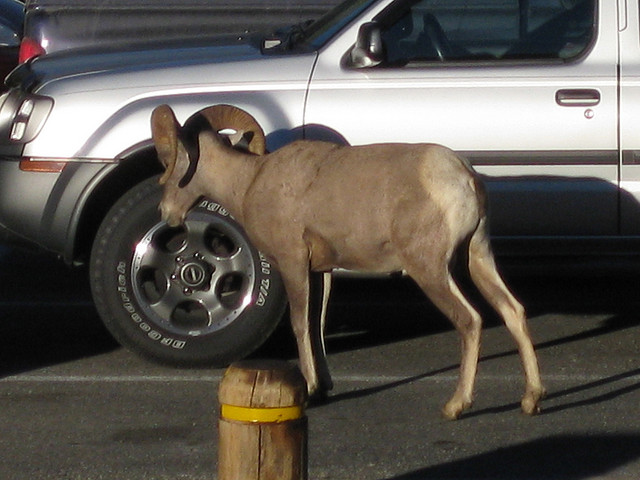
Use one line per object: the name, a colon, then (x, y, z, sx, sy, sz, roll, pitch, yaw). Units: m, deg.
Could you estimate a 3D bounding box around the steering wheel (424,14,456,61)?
steering wheel: (0.845, -1.428, 7.486, 0.215, 0.296, 0.559, 1, 13, 5)
